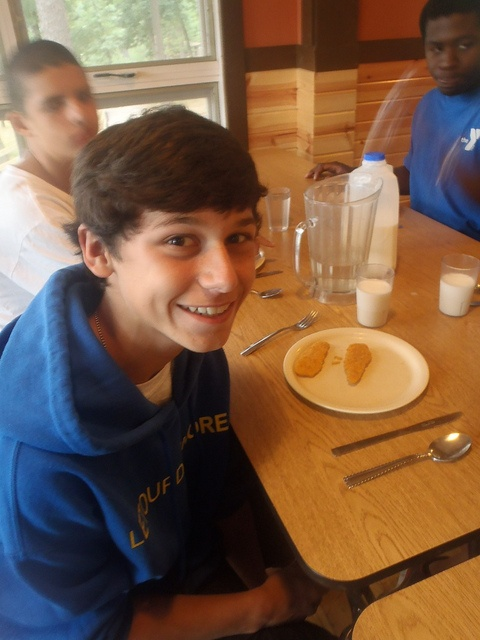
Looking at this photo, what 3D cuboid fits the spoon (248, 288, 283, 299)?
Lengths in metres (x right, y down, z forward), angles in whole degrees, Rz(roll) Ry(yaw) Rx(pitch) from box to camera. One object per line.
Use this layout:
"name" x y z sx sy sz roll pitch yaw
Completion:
"spoon" 0.074 -0.068 1.341 0.064 0.010 0.030 3 22 37

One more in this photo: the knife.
"knife" 0.249 0.181 0.835 0.244 0.004 0.026 -8 30 -11

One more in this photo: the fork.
"fork" 0.086 0.031 1.153 0.169 0.025 0.024 -29 51 -30
